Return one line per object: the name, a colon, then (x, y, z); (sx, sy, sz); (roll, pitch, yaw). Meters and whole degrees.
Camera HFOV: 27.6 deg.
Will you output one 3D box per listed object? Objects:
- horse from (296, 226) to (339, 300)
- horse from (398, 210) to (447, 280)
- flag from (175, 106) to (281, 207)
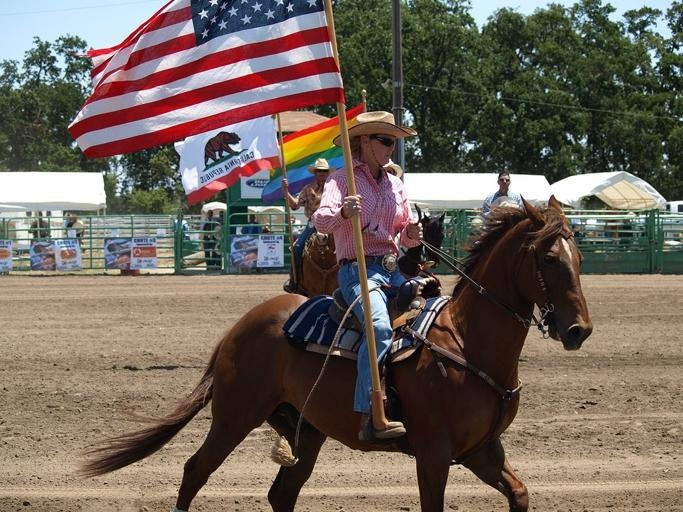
horse: (-0.773, 0.247, 43.138); (0.941, 2.189, 1.011); (-4, 11, -22)
horse: (2.449, -0.220, 41.085); (1.159, 2.156, 1.188); (-1, 12, -12)
flag: (-3.865, -3.396, 48.581); (3.747, 2.319, 0.308); (-16, 13, -20)
